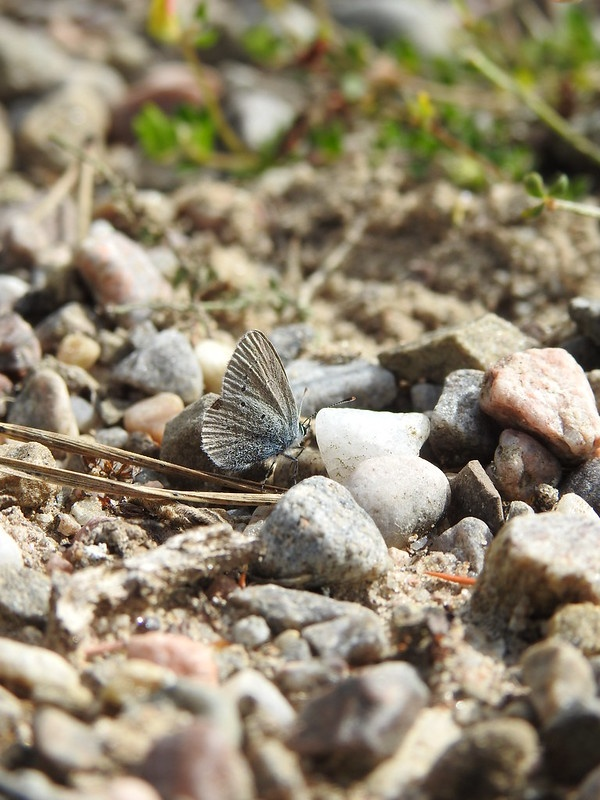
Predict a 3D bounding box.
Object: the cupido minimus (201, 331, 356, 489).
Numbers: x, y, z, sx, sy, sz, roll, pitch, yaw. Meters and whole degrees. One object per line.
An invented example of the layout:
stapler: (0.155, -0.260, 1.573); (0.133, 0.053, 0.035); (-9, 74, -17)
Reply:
cupido minimus: (-0.090, 0.034, 2.249); (0.309, 0.438, 0.198); (-1, 44, -13)
